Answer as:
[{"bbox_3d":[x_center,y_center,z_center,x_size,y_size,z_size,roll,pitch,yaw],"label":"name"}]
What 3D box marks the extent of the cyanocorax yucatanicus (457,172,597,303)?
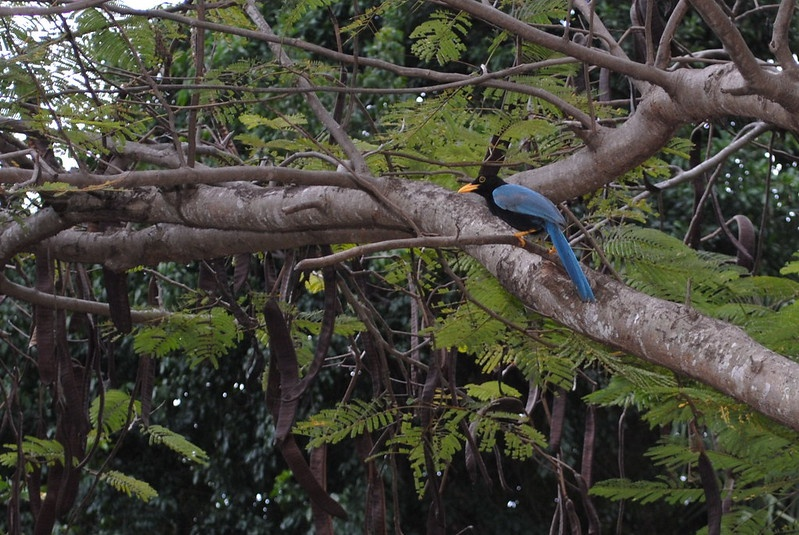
[{"bbox_3d":[1.122,-0.364,10.871,1.661,0.660,0.428,25,3,36],"label":"cyanocorax yucatanicus"}]
